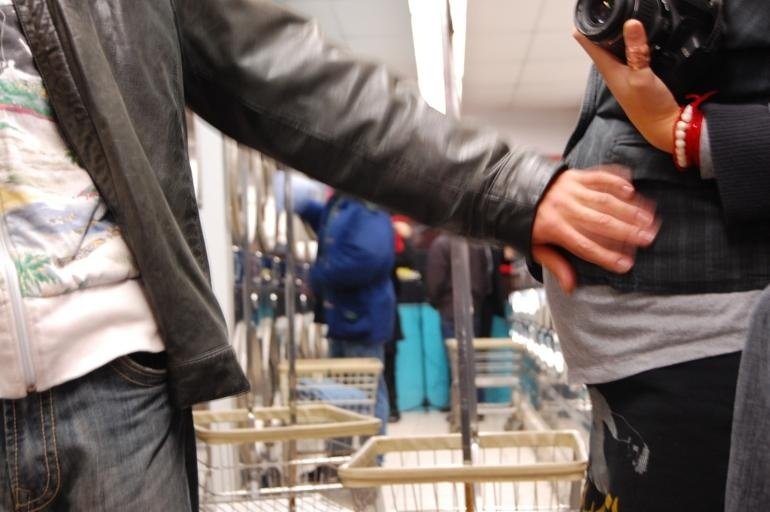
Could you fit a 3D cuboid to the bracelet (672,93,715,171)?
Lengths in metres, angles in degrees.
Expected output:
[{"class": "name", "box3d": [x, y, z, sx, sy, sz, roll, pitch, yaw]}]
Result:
[{"class": "bracelet", "box3d": [0.531, -0.213, 1.418, 0.048, 0.100, 0.101, 0, 58, 13]}]
